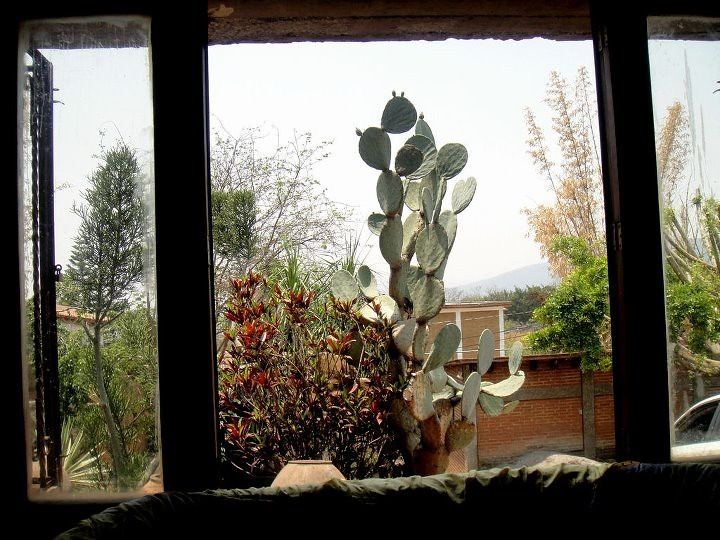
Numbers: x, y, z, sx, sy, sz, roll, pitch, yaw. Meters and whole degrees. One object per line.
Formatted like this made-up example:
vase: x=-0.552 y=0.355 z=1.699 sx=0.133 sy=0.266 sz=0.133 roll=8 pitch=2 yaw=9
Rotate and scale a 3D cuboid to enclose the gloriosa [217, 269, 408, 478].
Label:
gloriosa: x=-0.220 y=0.468 z=3.116 sx=0.817 sy=0.626 sz=0.597 roll=-4 pitch=-2 yaw=-14
